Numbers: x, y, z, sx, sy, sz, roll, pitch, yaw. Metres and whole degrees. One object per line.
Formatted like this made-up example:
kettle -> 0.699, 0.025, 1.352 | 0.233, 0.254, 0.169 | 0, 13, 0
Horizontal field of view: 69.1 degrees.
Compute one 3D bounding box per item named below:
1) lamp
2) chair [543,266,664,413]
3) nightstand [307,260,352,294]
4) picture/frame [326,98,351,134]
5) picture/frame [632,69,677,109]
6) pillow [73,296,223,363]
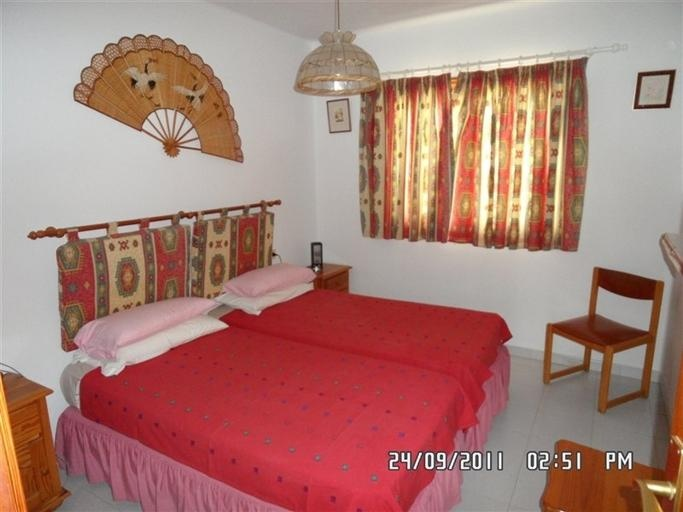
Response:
lamp -> -0.058, -1.480, 3.606 | 0.531, 0.687, 0.577 | -11, 23, -22
chair -> 2.247, 0.693, 4.323 | 0.681, 1.132, 0.766 | -3, 14, -9
nightstand -> -0.158, 0.219, 5.529 | 0.268, 0.422, 0.394 | 8, 16, 30
picture/frame -> -0.017, -1.643, 5.777 | 0.339, 0.466, 0.029 | 6, 18, 30
picture/frame -> 2.744, -1.468, 4.336 | 0.295, 0.386, 0.026 | 8, 16, 32
pillow -> -1.509, 0.462, 3.758 | 0.357, 0.193, 0.760 | 22, 20, 26
